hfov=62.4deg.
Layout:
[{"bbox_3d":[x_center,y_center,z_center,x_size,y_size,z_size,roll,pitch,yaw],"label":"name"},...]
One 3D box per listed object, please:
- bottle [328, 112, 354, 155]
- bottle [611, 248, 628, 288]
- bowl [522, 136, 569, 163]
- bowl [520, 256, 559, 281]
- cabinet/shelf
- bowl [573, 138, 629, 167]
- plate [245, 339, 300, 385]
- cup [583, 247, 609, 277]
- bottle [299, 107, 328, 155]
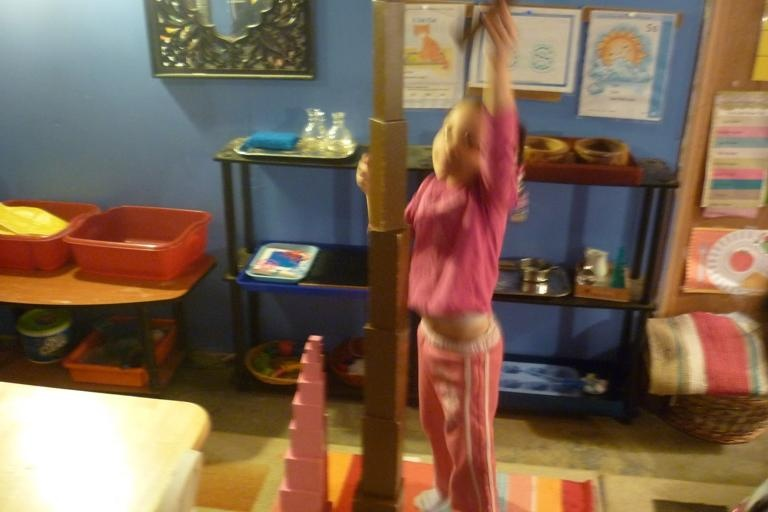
[{"bbox_3d":[-0.230,-0.658,3.466,0.163,0.191,0.164,22,32,37],"label":"bottle"},{"bbox_3d":[1.257,0.059,3.371,0.078,0.206,0.123,9,22,17],"label":"bottle"},{"bbox_3d":[0.821,-0.545,3.234,0.213,0.064,0.179,7,28,24],"label":"bowl"},{"bbox_3d":[0.837,0.074,3.488,0.158,0.052,0.145,0,22,0],"label":"bowl"},{"bbox_3d":[0.395,0.098,3.050,2.025,1.049,0.410,2,30,3],"label":"cabinet/shelf"},{"bbox_3d":[1.101,-0.538,3.229,0.227,0.074,0.196,13,25,31],"label":"bowl"},{"bbox_3d":[-0.651,0.639,3.774,0.313,0.054,0.288,-18,33,-32],"label":"plate"},{"bbox_3d":[1.152,0.037,3.526,0.164,0.150,0.159,-8,12,2],"label":"cup"},{"bbox_3d":[-0.386,-0.674,3.414,0.151,0.220,0.219,-1,20,-7],"label":"bottle"}]
